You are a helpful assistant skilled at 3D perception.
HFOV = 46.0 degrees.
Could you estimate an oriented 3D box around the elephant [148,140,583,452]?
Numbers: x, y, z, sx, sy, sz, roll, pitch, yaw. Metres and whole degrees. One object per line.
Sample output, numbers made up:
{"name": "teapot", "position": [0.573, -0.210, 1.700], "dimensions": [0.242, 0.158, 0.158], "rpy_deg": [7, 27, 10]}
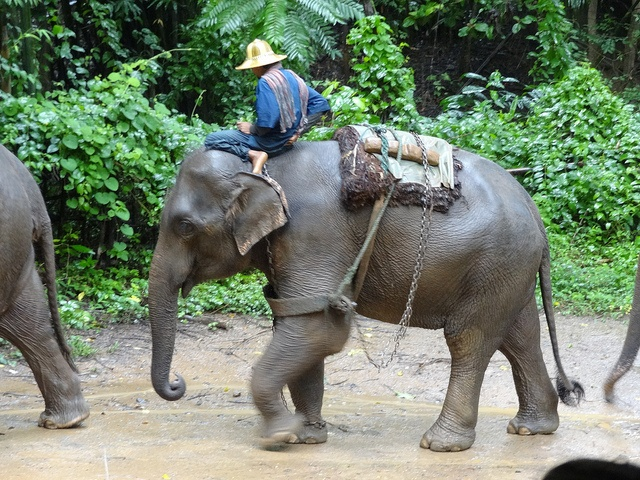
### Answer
{"name": "elephant", "position": [0.286, 0.438, 5.072], "dimensions": [3.025, 1.652, 1.096], "rpy_deg": [1, -10, 3]}

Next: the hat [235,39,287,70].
{"name": "hat", "position": [-0.416, -1.284, 5.124], "dimensions": [0.366, 0.150, 0.345], "rpy_deg": [-25, 28, -17]}
